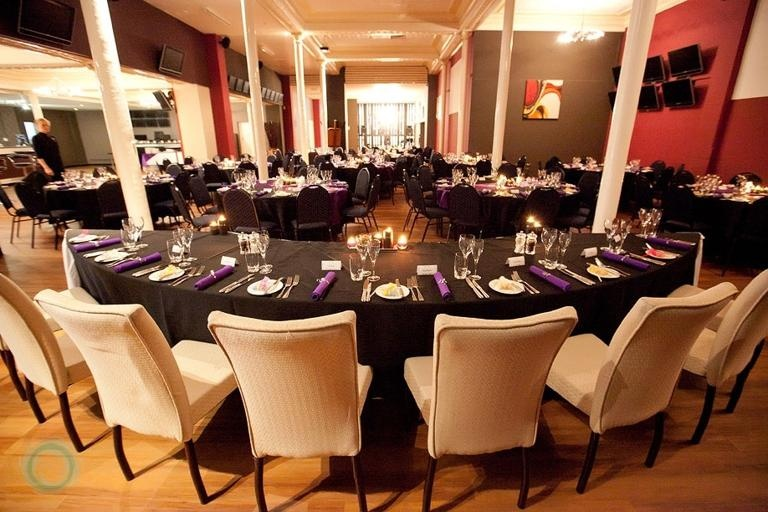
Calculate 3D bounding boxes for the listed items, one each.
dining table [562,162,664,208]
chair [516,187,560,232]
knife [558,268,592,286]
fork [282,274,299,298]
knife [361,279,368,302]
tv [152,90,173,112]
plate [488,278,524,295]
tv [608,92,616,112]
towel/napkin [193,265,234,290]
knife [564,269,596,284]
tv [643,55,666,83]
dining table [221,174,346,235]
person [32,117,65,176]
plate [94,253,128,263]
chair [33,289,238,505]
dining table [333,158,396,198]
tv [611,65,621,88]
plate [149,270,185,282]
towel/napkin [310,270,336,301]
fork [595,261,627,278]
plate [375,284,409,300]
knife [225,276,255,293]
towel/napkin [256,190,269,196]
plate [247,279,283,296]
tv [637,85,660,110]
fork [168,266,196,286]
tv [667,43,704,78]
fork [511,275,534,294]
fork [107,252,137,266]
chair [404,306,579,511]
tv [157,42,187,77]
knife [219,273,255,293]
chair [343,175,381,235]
[{"bbox_3d":[3.886,-1.180,8.401,1.147,0.445,1.347,8,18,39],"label":"dining table"},{"bbox_3d":[2.149,-0.695,6.993,0.510,0.743,0.537,2,27,3],"label":"chair"},{"bbox_3d":[1.822,0.190,4.798,0.102,0.007,0.379,-12,24,-17],"label":"knife"},{"bbox_3d":[-0.872,0.282,4.668,0.069,0.048,0.269,16,20,-8],"label":"fork"},{"bbox_3d":[-0.184,0.319,4.601,0.067,0.011,0.252,1,28,-3],"label":"knife"},{"bbox_3d":[-6.585,-4.695,14.999,0.438,0.486,1.027,-8,17,-21],"label":"tv"},{"bbox_3d":[1.134,0.263,4.647,0.341,0.141,0.196,2,16,11],"label":"plate"},{"bbox_3d":[5.650,-3.895,12.523,0.129,0.491,1.116,4,17,19],"label":"tv"},{"bbox_3d":[-1.601,0.200,4.759,0.135,0.146,0.412,-21,12,41],"label":"towel/napkin"},{"bbox_3d":[1.845,0.200,4.780,0.096,0.006,0.360,-15,26,-19],"label":"knife"},{"bbox_3d":[5.781,-4.010,10.803,0.272,0.512,0.542,-5,16,-12],"label":"tv"},{"bbox_3d":[-1.703,-0.798,7.803,1.302,0.477,1.318,23,29,38],"label":"dining table"},{"bbox_3d":[-6.085,-1.935,9.071,0.389,1.070,1.542,-12,19,-32],"label":"person"},{"bbox_3d":[-2.755,0.019,5.071,0.157,0.026,0.153,-14,29,-39],"label":"plate"},{"bbox_3d":[-2.162,1.274,4.414,0.972,2.052,1.310,11,33,14],"label":"chair"},{"bbox_3d":[-0.358,-1.526,10.833,1.105,0.418,1.120,5,16,12],"label":"dining table"},{"bbox_3d":[5.578,-4.378,12.133,0.143,0.498,1.178,5,17,20],"label":"tv"},{"bbox_3d":[-2.085,0.191,4.781,0.160,0.027,0.159,3,19,-5],"label":"plate"},{"bbox_3d":[-0.563,0.261,4.666,0.086,0.099,0.361,35,25,-3],"label":"towel/napkin"},{"bbox_3d":[2.206,0.132,4.883,0.041,0.045,0.300,20,15,-16],"label":"fork"},{"bbox_3d":[0.065,0.316,4.571,0.324,0.121,0.145,0,16,3],"label":"plate"},{"bbox_3d":[-1.369,0.260,4.719,0.077,0.034,0.307,28,32,18],"label":"knife"},{"bbox_3d":[-1.831,-0.955,7.557,0.082,0.074,0.279,19,6,-3],"label":"towel/napkin"},{"bbox_3d":[-1.100,0.276,4.646,0.329,0.121,0.202,-4,16,-11],"label":"plate"},{"bbox_3d":[5.820,-3.518,11.121,0.235,0.556,0.639,-3,16,-6],"label":"tv"},{"bbox_3d":[-1.913,0.191,4.812,0.093,0.014,0.285,19,25,6],"label":"fork"},{"bbox_3d":[5.971,-3.878,9.980,0.086,0.541,0.739,-24,16,-12],"label":"tv"},{"bbox_3d":[1.296,0.246,4.740,0.078,0.044,0.298,-14,40,-17],"label":"fork"},{"bbox_3d":[-2.673,0.024,5.110,0.079,0.015,0.303,16,15,3],"label":"fork"},{"bbox_3d":[0.881,1.295,4.255,1.196,2.053,1.337,-1,36,1],"label":"chair"},{"bbox_3d":[-4.591,-4.196,10.819,0.108,0.540,0.766,20,13,4],"label":"tv"},{"bbox_3d":[-1.383,0.257,4.722,0.101,0.037,0.437,18,26,19],"label":"knife"},{"bbox_3d":[-0.408,-0.775,8.120,0.455,0.735,0.413,-9,3,-6],"label":"chair"}]
